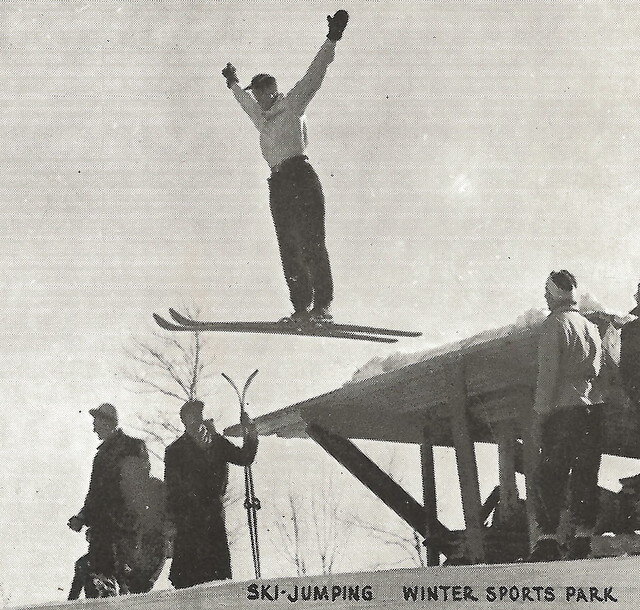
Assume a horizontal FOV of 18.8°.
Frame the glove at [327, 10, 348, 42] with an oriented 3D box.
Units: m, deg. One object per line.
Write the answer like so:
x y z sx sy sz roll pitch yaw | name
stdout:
0.132 -2.047 14.063 0.155 0.246 0.304 -4 4 1 | glove
